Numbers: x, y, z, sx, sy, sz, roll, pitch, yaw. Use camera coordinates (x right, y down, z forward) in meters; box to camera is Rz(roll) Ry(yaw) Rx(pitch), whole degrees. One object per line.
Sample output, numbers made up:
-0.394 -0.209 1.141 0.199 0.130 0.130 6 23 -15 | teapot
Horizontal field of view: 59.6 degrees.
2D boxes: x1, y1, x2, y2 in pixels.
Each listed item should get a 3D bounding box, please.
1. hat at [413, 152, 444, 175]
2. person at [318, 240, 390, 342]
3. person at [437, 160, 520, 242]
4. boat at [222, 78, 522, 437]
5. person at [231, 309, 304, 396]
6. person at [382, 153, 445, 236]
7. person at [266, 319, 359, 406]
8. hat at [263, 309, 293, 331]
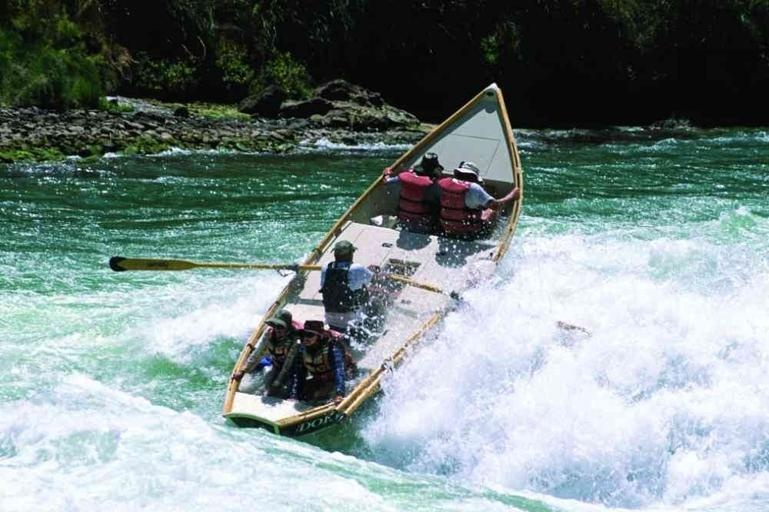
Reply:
0.831 -1.676 12.286 0.372 0.193 0.512 34 44 23 | hat
-0.482 0.475 10.356 0.936 1.352 0.484 -5 15 -22 | person
1.530 -0.970 12.146 1.624 1.496 1.102 13 20 32 | person
0.651 0.142 12.223 2.819 1.957 8.616 25 52 23 | boat
-1.633 1.544 9.895 0.590 1.746 0.393 19 -18 7 | person
0.595 -1.018 12.233 0.609 1.882 0.666 8 -15 10 | person
-1.043 1.582 9.776 0.863 1.459 0.526 4 7 21 | person
-1.536 0.900 9.752 0.352 0.216 0.200 19 58 -5 | hat
